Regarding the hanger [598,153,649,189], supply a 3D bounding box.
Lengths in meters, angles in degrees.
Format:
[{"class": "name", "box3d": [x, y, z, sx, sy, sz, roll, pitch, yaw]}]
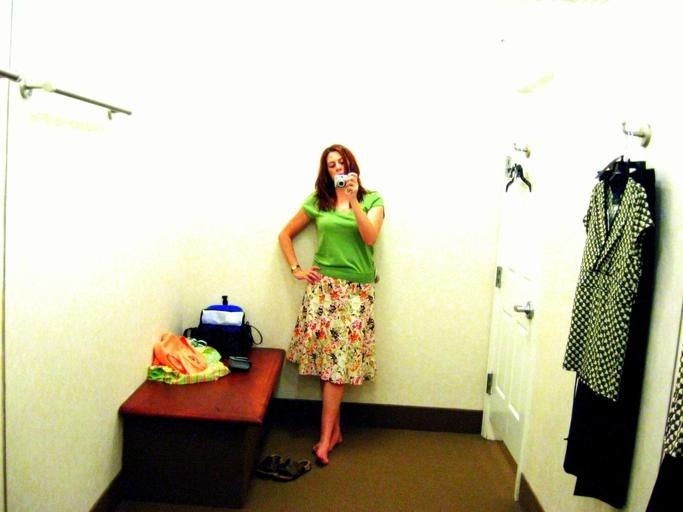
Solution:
[{"class": "hanger", "box3d": [1.043, -0.309, 1.966, 0.068, 0.120, 0.233, 0, 12, -11]}]

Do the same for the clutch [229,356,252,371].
[{"class": "clutch", "box3d": [-0.580, 0.620, 3.045, 0.091, 0.044, 0.078, 3, 41, -6]}]

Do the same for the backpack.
[{"class": "backpack", "box3d": [-0.683, 0.461, 3.221, 0.543, 0.462, 0.307, 2, -13, -4]}]

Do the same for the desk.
[{"class": "desk", "box3d": [-0.743, 0.889, 2.758, 0.506, 0.369, 0.772, 1, 12, -1]}]

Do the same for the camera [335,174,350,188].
[{"class": "camera", "box3d": [0.000, -0.413, 2.891, 0.093, 0.072, 0.057, 3, 17, 5]}]

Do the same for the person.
[{"class": "person", "box3d": [-0.017, 0.239, 3.149, 0.528, 1.752, 0.634, -2, 12, -21]}]
